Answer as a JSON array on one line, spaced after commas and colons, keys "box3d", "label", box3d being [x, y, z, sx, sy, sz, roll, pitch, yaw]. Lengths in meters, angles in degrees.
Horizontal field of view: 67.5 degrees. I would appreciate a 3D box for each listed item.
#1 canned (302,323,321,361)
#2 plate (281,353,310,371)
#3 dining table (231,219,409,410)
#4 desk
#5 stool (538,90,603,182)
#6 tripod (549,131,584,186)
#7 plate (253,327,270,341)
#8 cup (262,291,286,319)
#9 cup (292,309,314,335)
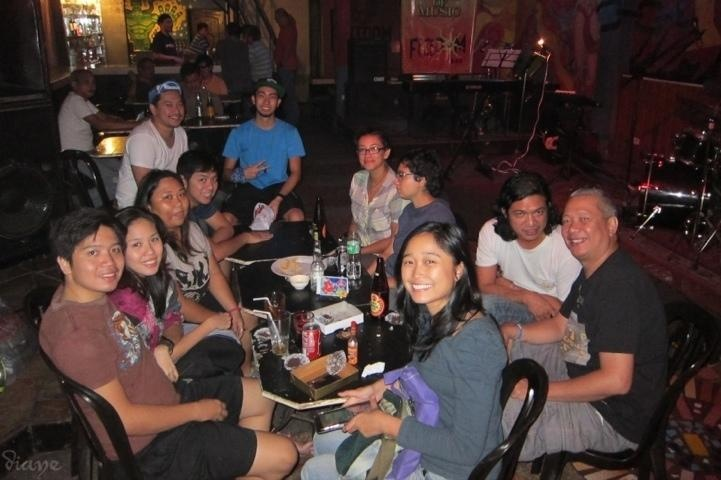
[{"box3d": [-0.341, 0.708, 3.778, 0.135, 0.223, 0.133, -12, 18, -37], "label": "canned"}, {"box3d": [-0.457, 0.821, 3.709, 0.189, 0.067, 0.157, 17, 26, 36], "label": "plate"}, {"box3d": [-0.198, 0.642, 3.786, 0.976, 0.351, 1.494, -7, 32, -11], "label": "dining table"}, {"box3d": [2.257, -2.185, 10.489, 2.239, 1.554, 1.309, 13, 8, 37], "label": "desk"}, {"box3d": [3.841, -2.179, 10.298, 1.391, 1.290, 1.005, 5, 13, 2], "label": "stool"}, {"box3d": [3.760, -1.564, 9.773, 0.428, 1.057, 0.656, 3, 0, -11], "label": "tripod"}, {"box3d": [-0.715, 0.683, 3.973, 0.092, 0.035, 0.091, 0, 27, 5], "label": "plate"}, {"box3d": [-0.602, 0.474, 3.932, 0.165, 0.186, 0.173, 3, 32, -2], "label": "cup"}, {"box3d": [-0.423, 0.583, 3.932, 0.130, 0.129, 0.166, 3, 26, -2], "label": "cup"}]
